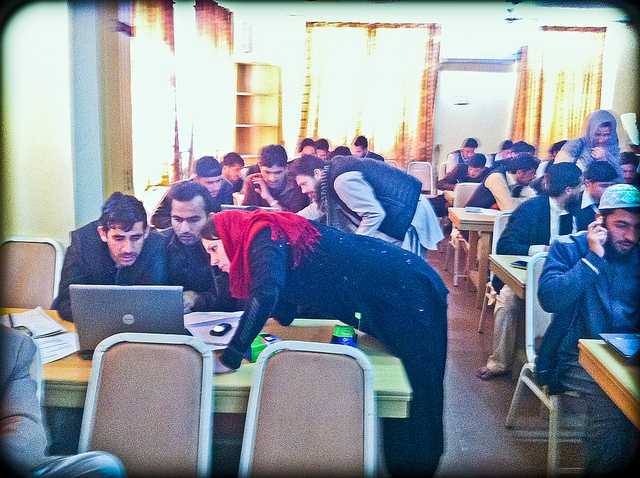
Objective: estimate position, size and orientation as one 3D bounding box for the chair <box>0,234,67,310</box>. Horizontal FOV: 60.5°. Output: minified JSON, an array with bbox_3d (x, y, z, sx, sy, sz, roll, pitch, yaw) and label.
[{"bbox_3d":[-1.478,0.157,2.943,0.372,0.468,0.393,0,9,-18],"label":"chair"}]

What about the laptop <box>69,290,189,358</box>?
[{"bbox_3d":[-0.816,0.292,2.408,0.493,0.288,0.313,0,15,-7],"label":"laptop"}]

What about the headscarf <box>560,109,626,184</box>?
[{"bbox_3d":[1.312,-0.455,2.683,0.269,0.350,0.197,0,17,6],"label":"headscarf"}]

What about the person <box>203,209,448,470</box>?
[{"bbox_3d":[0.120,0.336,2.685,1.522,1.144,0.876,5,3,12],"label":"person"}]
